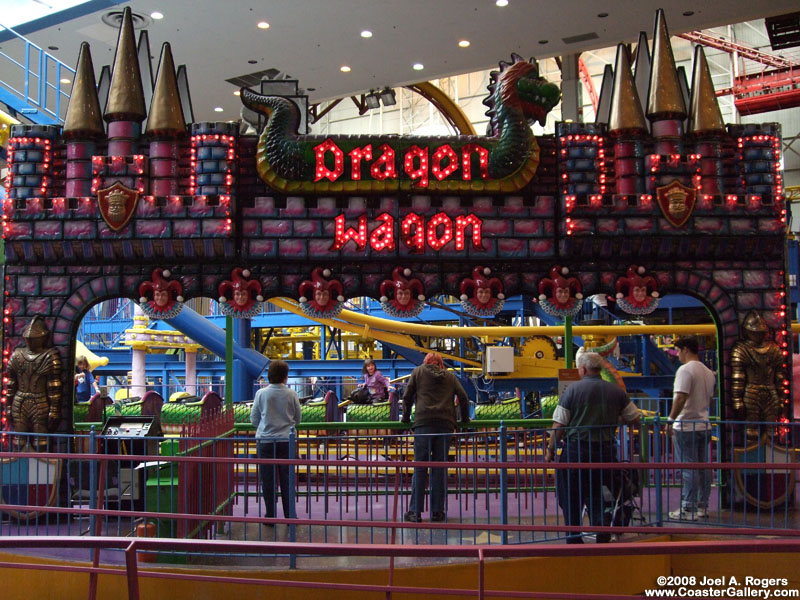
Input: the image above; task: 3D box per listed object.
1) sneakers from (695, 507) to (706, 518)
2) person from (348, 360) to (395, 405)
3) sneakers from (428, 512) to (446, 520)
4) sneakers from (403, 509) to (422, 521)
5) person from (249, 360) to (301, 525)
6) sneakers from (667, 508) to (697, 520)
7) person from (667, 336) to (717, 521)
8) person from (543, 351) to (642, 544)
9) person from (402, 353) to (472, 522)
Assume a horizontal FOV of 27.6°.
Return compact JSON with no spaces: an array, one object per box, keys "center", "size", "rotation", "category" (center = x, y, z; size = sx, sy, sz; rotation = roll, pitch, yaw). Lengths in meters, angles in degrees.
[{"center":[4.992,3.504,27.023],"size":[0.150,0.114,0.153],"rotation":[-1,-2,28],"category":"sneakers"},{"center":[-0.570,1.644,32.629],"size":[0.815,0.988,0.940],"rotation":[1,1,-37],"category":"person"},{"center":[0.613,3.560,26.813],"size":[0.177,0.113,0.176],"rotation":[0,-4,11],"category":"sneakers"},{"center":[0.179,3.525,26.796],"size":[0.451,0.185,0.191],"rotation":[-9,-10,42],"category":"sneakers"},{"center":[-2.067,2.271,26.978],"size":[0.805,2.590,1.546],"rotation":[-2,-7,-6],"category":"person"},{"center":[4.673,3.534,27.058],"size":[0.374,0.163,0.213],"rotation":[1,-6,15],"category":"sneakers"},{"center":[4.861,2.111,27.132],"size":[0.808,3.044,0.642],"rotation":[-4,-7,10],"category":"person"},{"center":[3.025,2.333,26.105],"size":[1.344,3.011,0.818],"rotation":[-3,-7,5],"category":"person"},{"center":[0.565,2.247,27.081],"size":[1.117,2.790,1.551],"rotation":[-3,-7,5],"category":"person"}]
